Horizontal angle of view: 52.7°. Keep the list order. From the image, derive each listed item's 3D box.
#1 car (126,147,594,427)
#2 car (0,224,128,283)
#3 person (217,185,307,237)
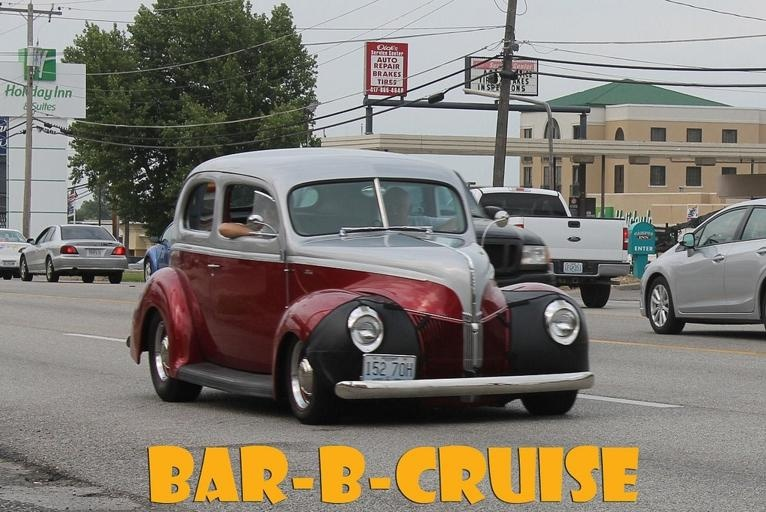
[{"bbox_3d":[-0.385,0.265,7.788,4.387,2.809,2.246,3,4,38],"label":"car"},{"bbox_3d":[-12.952,-0.089,31.983,2.614,2.424,5.045,-2,4,-42],"label":"car"},{"bbox_3d":[-1.325,-0.468,8.107,0.873,0.400,0.582,4,-2,9],"label":"person"}]
